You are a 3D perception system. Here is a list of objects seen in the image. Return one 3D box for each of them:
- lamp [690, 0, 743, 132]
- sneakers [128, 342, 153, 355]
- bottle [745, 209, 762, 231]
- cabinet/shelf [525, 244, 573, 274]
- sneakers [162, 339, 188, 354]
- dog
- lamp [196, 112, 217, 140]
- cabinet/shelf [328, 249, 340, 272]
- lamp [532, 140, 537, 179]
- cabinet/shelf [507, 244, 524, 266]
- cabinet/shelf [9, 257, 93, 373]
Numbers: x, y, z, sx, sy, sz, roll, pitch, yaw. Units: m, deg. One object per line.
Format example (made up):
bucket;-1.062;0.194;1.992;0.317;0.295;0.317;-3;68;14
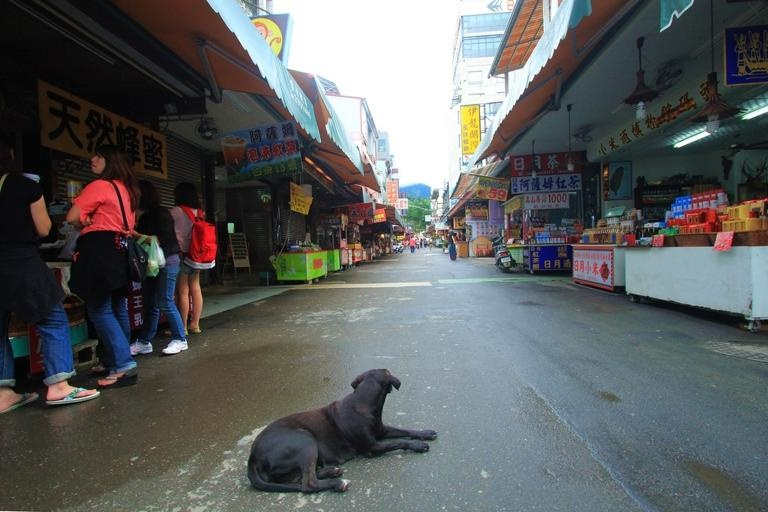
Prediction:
lamp;5.593;-3.079;9.066;0.634;2.080;1.984;1;4;31
sneakers;-3.329;1.290;7.413;0.313;0.155;0.128;6;-4;-21
bottle;5.312;-0.515;7.696;0.213;0.309;0.130;1;5;36
cabinet/shelf;4.978;0.036;16.288;1.398;0.762;0.606;0;4;25
sneakers;-2.891;1.274;7.470;0.136;0.150;0.362;-6;-12;15
dog;-0.483;1.654;5.224;1.533;0.827;0.951;-6;-9;-16
lamp;-3.290;-2.388;9.986;0.297;0.440;0.475;-5;5;-44
cabinet/shelf;-1.856;0.162;19.905;0.401;0.752;0.774;-1;-3;4
lamp;4.497;-2.835;16.023;0.197;0.907;1.051;0;4;16
cabinet/shelf;4.401;-0.024;17.783;0.584;0.860;0.569;-1;-7;-4
cabinet/shelf;-4.267;0.870;7.142;0.933;1.227;1.210;0;6;-13
